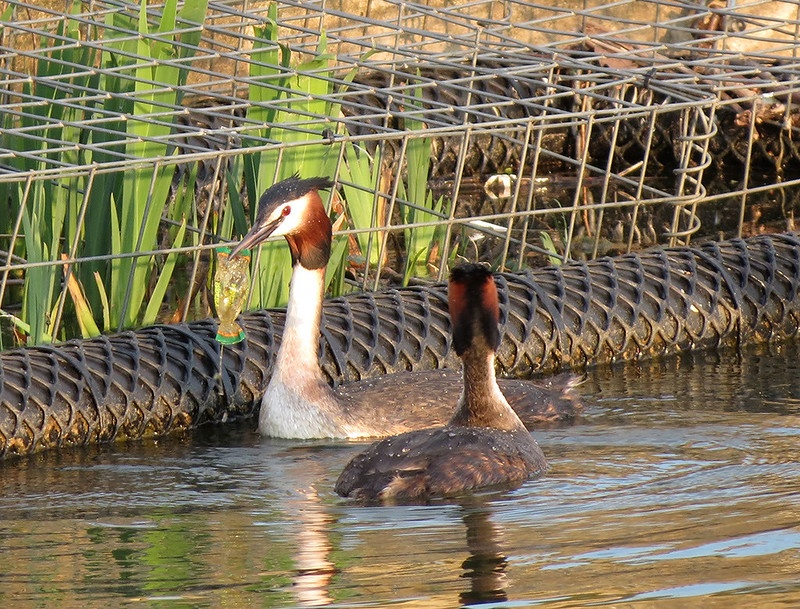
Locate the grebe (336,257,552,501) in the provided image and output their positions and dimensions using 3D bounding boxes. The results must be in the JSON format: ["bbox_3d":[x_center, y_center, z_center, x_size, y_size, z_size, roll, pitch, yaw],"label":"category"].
[{"bbox_3d":[0.274,0.394,7.148,0.672,1.086,1.210,11,20,43],"label":"grebe"}]
